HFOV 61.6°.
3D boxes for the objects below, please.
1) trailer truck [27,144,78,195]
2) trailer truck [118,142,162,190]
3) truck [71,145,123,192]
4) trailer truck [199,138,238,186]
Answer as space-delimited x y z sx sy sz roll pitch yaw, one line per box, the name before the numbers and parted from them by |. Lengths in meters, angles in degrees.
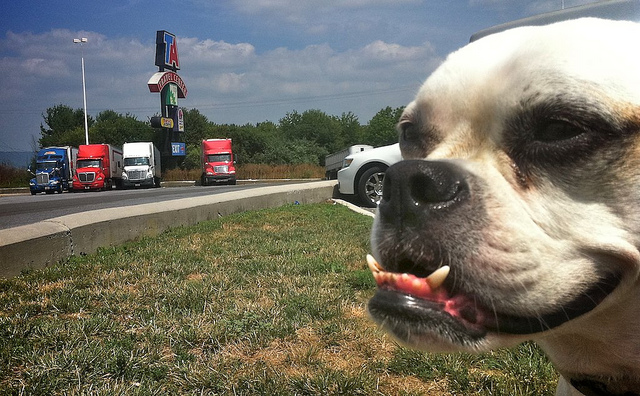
trailer truck | -15.392 -1.493 31.198 2.412 3.340 6.323 0 -1 -6
trailer truck | -11.592 -1.986 35.094 1.674 2.354 4.663 -1 -1 -4
truck | -14.370 -1.817 33.854 1.830 2.750 5.991 -1 0 -2
trailer truck | -6.859 -2.393 35.589 1.983 3.024 5.811 -4 4 -15
